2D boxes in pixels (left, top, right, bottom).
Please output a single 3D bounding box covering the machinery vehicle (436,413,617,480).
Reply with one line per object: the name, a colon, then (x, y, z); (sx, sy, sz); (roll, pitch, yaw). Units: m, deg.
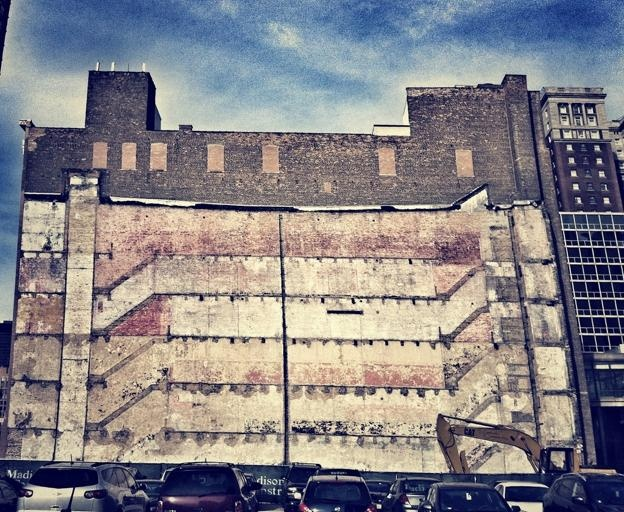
machinery vehicle: (10.649, 10.145, 43.908); (7.637, 3.527, 1.811); (-3, 12, 6)
